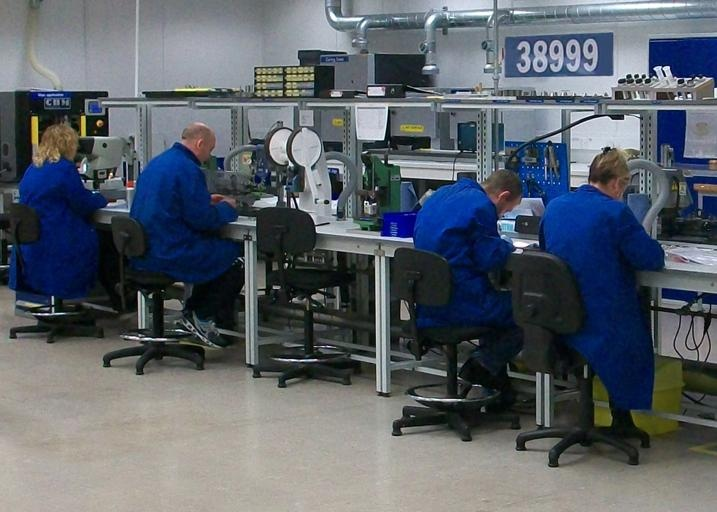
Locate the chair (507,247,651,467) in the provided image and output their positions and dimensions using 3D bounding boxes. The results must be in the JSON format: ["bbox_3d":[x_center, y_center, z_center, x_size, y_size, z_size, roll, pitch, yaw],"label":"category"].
[{"bbox_3d":[1.049,0.457,3.546,0.657,0.924,0.647,0,-3,-19],"label":"chair"}]

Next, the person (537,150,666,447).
[{"bbox_3d":[1.115,0.222,3.510,0.555,1.415,0.360,2,10,13],"label":"person"}]

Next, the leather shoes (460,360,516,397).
[{"bbox_3d":[0.681,0.657,4.051,0.273,0.138,0.178,13,6,0],"label":"leather shoes"}]

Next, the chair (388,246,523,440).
[{"bbox_3d":[0.504,0.415,3.931,0.620,0.967,0.536,2,10,11],"label":"chair"}]

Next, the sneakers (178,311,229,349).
[{"bbox_3d":[-1.027,0.503,5.095,0.332,0.123,0.192,27,-3,-36],"label":"sneakers"}]
